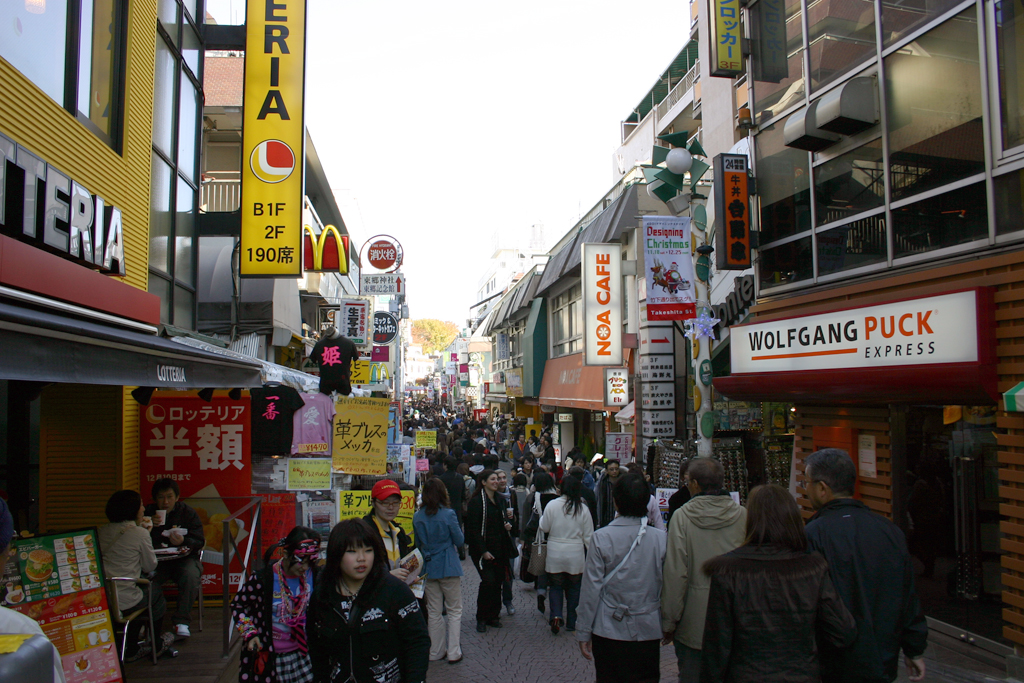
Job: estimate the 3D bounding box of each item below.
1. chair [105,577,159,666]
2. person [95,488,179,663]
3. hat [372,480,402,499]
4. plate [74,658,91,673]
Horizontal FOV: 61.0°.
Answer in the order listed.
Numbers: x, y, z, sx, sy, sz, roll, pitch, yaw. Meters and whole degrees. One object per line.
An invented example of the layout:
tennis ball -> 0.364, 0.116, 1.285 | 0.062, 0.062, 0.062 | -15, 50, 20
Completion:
chair -> -4.571, 3.287, 10.618 | 0.652, 1.022, 0.621 | -7, -4, -12
person -> -4.731, 2.914, 10.818 | 0.614, 2.116, 1.213 | 0, -8, 1
hat -> -1.423, 1.677, 9.773 | 0.210, 0.179, 0.294 | 3, -15, -18
plate -> -4.703, 3.528, 9.516 | 0.108, 0.081, 0.130 | 3, 22, 5
